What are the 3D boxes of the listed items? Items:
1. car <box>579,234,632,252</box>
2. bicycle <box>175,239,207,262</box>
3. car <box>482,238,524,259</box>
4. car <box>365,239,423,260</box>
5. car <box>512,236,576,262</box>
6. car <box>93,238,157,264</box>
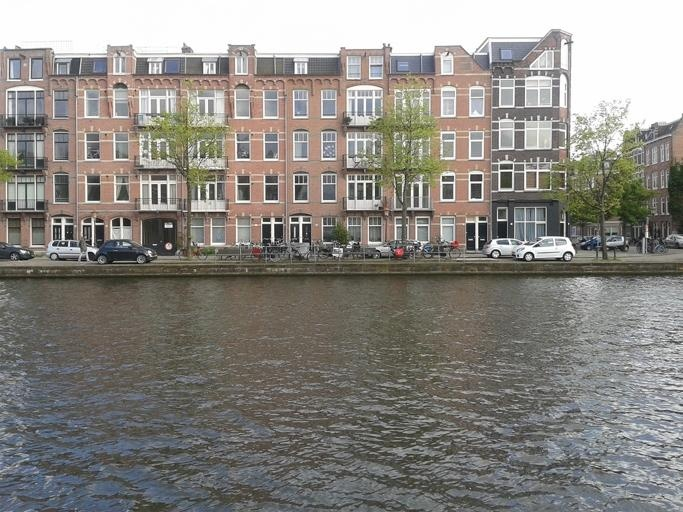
[{"bbox_3d":[20.687,-0.963,73.806,3.379,1.203,8.170,-2,1,16],"label":"car"},{"bbox_3d":[-8.928,-0.243,56.995,2.725,1.228,1.179,-2,5,-1],"label":"bicycle"},{"bbox_3d":[9.652,-0.432,56.521,2.192,0.717,1.131,-3,4,-1],"label":"car"},{"bbox_3d":[3.060,-0.365,54.923,3.137,0.753,1.313,1,0,2],"label":"car"},{"bbox_3d":[11.144,-0.381,51.343,2.779,0.935,1.433,1,0,0],"label":"car"},{"bbox_3d":[-11.401,-0.183,49.539,2.613,0.861,1.373,-2,-1,-2],"label":"car"}]
